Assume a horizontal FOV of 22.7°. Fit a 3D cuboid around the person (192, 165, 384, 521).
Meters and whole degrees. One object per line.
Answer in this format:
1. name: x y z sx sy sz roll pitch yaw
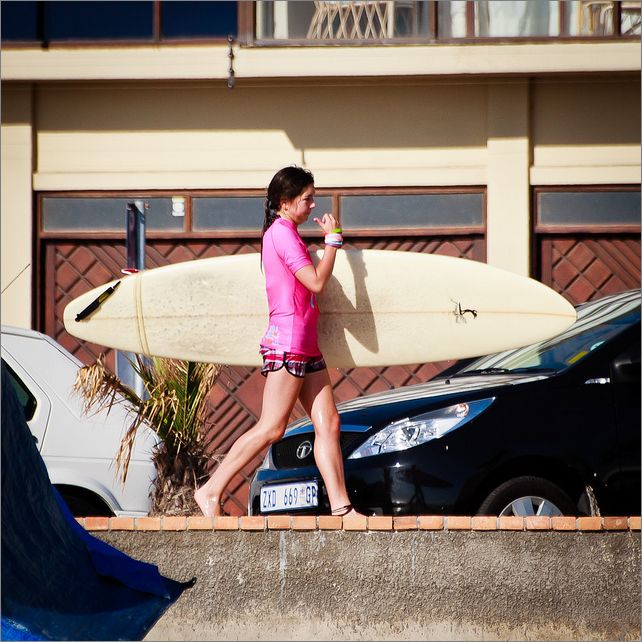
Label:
1. person: -0.220 0.141 9.776 0.913 2.115 0.718 1 6 -6
